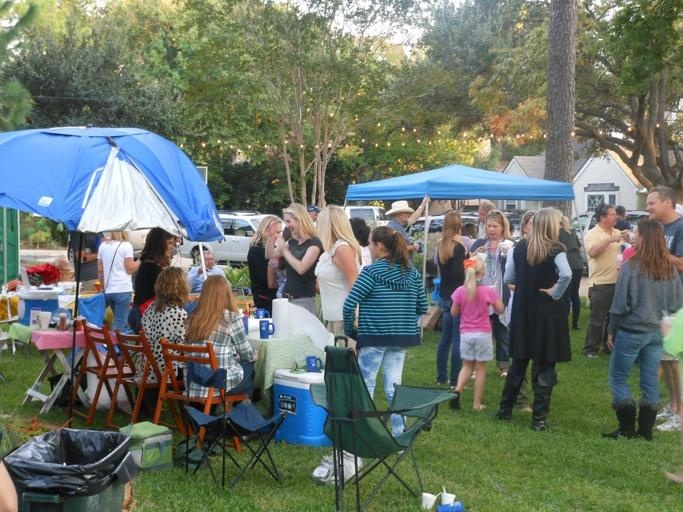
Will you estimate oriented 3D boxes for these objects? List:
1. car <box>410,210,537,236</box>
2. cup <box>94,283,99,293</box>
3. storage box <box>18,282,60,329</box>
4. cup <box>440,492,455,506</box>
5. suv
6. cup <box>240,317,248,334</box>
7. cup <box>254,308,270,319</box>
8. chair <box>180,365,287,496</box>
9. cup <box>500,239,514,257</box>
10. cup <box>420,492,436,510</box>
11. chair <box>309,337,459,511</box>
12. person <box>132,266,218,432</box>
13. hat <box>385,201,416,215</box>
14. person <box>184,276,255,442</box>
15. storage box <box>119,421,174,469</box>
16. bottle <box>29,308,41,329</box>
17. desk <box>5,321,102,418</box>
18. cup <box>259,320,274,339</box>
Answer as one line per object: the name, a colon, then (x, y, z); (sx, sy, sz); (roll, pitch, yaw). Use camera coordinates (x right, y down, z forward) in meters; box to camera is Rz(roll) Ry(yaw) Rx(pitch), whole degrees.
car: (3.363, -0.893, 22.278); (2.764, 1.190, 1.371); (1, 0, -10)
cup: (-3.710, 0.477, 12.944); (0.107, 0.138, 0.125); (6, -7, -30)
storage box: (-3.987, 0.637, 11.295); (0.486, 0.510, 0.499); (-6, -9, 44)
cup: (1.060, 2.434, 8.658); (0.151, 0.122, 0.148); (0, -6, 0)
suv: (-2.640, -0.131, 23.084); (3.155, 1.457, 1.337); (5, -11, 24)
cup: (-1.162, 0.819, 10.175); (0.058, 0.190, 0.136); (1, -2, -30)
cup: (-0.975, 0.712, 10.725); (0.163, 0.124, 0.100); (1, -3, -27)
chair: (-1.147, 1.818, 9.236); (0.955, 1.266, 1.004); (-1, -7, 17)
cup: (2.207, -0.113, 11.343); (0.187, 0.212, 0.215); (-2, -10, 22)
cup: (0.875, 2.485, 8.748); (0.143, 0.118, 0.143); (5, 2, 0)
chair: (0.334, 1.742, 8.806); (1.153, 1.657, 0.937); (1, -1, -24)
person: (-1.823, 0.956, 10.214); (0.612, 1.863, 0.597); (21, 32, 38)
hat: (0.905, -0.736, 12.796); (0.368, 0.165, 0.363); (-1, -2, -23)
person: (-1.325, 1.154, 9.902); (0.870, 1.968, 1.067); (8, 14, 24)
storage box: (-2.194, 2.121, 9.550); (0.581, 0.426, 0.471); (2, 1, 42)
bottle: (-3.897, 0.773, 10.846); (0.196, 0.359, 0.209); (0, -5, 0)
desk: (-3.570, 1.465, 10.770); (0.697, 0.956, 0.819); (6, -9, -33)
cup: (-0.884, 0.852, 10.065); (0.181, 0.238, 0.139); (1, -1, -26)
